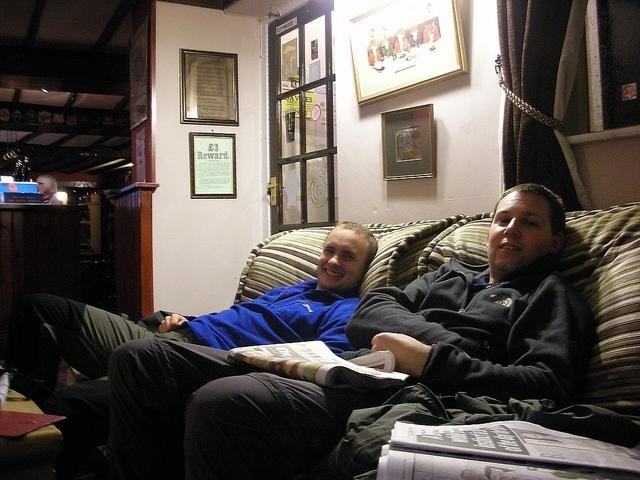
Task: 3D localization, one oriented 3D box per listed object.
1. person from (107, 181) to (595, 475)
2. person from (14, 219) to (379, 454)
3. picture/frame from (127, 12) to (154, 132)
[{"bbox_3d":[0.145,0.264,1.588,1.407,1.010,0.844,7,-7,-29],"label":"person"},{"bbox_3d":[-0.466,0.335,1.942,1.296,0.727,0.724,6,-8,-26],"label":"person"},{"bbox_3d":[-1.677,-1.594,4.369,0.070,1.386,1.349,0,2,-28],"label":"picture/frame"}]
